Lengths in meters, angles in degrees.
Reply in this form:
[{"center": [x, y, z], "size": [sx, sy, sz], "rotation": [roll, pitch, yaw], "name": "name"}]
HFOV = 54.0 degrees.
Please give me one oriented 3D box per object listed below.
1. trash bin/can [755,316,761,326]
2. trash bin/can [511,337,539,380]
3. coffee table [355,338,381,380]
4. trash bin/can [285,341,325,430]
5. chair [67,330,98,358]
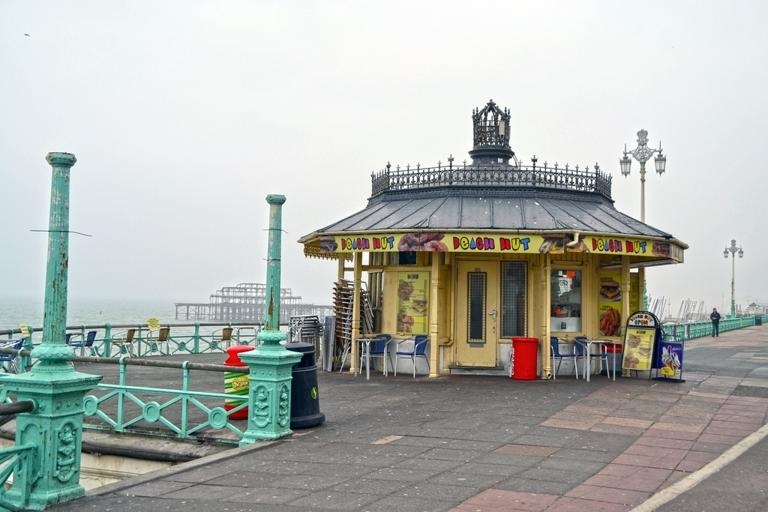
[{"center": [29.361, 5.068, 59.066], "size": [0.673, 0.779, 1.097], "rotation": [0, -4, 25], "name": "trash bin/can"}, {"center": [3.821, 2.790, 20.471], "size": [0.677, 1.138, 0.603], "rotation": [-1, -7, 6], "name": "trash bin/can"}, {"center": [-0.466, 2.887, 21.611], "size": [0.913, 1.114, 0.989], "rotation": [-3, -5, 26], "name": "coffee table"}, {"center": [-1.560, 2.502, 14.550], "size": [0.400, 1.609, 0.905], "rotation": [-5, -8, 34], "name": "trash bin/can"}, {"center": [-10.119, 2.934, 25.420], "size": [0.697, 0.787, 4.572], "rotation": [2, -8, -21], "name": "chair"}]
